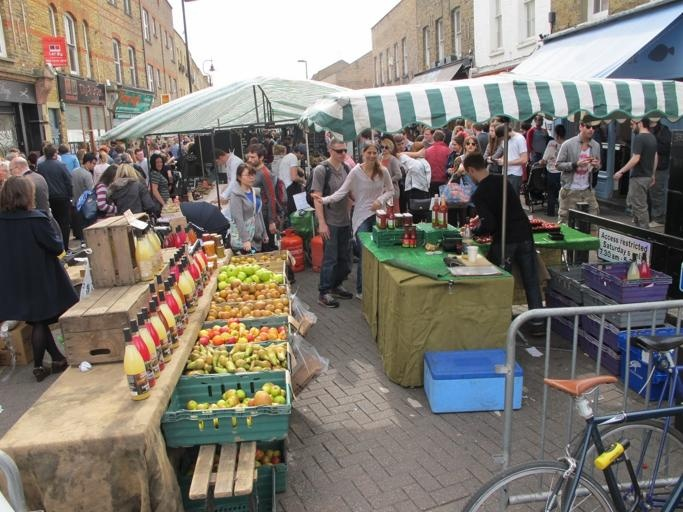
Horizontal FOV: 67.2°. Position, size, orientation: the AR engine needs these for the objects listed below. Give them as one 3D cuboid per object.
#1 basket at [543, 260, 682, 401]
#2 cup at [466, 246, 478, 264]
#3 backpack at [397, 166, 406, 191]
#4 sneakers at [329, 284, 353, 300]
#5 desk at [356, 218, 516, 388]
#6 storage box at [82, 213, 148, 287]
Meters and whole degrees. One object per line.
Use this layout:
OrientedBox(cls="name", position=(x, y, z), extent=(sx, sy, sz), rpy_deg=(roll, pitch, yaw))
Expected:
OrientedBox(cls="basket", position=(3.284, 0.667, 6.331), extent=(1.271, 0.822, 2.130), rpy_deg=(-2, 12, -9))
OrientedBox(cls="cup", position=(1.536, -0.010, 6.139), extent=(0.173, 0.199, 0.171), rpy_deg=(-3, 6, 0))
OrientedBox(cls="backpack", position=(1.309, -1.659, 11.208), extent=(0.287, 0.422, 0.143), rpy_deg=(-2, 23, -5))
OrientedBox(cls="sneakers", position=(-0.004, 0.621, 8.760), extent=(0.445, 0.216, 0.169), rpy_deg=(6, 13, -6))
OrientedBox(cls="desk", position=(1.152, -0.106, 6.803), extent=(1.506, 1.464, 2.667), rpy_deg=(-6, 42, -2))
OrientedBox(cls="storage box", position=(-2.010, -0.009, 4.902), extent=(0.462, 0.857, 0.585), rpy_deg=(-5, -5, 2))
